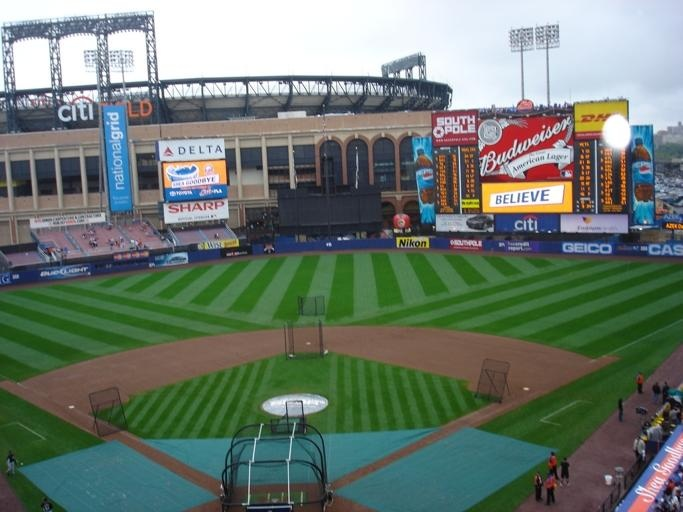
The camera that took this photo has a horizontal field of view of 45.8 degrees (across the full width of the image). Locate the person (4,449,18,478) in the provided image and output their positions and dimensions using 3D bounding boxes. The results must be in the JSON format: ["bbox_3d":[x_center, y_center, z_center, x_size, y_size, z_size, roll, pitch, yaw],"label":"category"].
[{"bbox_3d":[-19.208,11.867,47.041,0.617,1.310,1.443,-7,9,-22],"label":"person"}]

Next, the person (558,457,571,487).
[{"bbox_3d":[12.384,11.748,44.783,0.513,1.378,1.117,-2,9,15],"label":"person"}]

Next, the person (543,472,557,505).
[{"bbox_3d":[11.332,12.471,43.804,0.532,1.597,1.033,-1,9,17],"label":"person"}]

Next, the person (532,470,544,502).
[{"bbox_3d":[10.782,12.471,44.174,0.509,1.460,1.076,-2,8,12],"label":"person"}]
